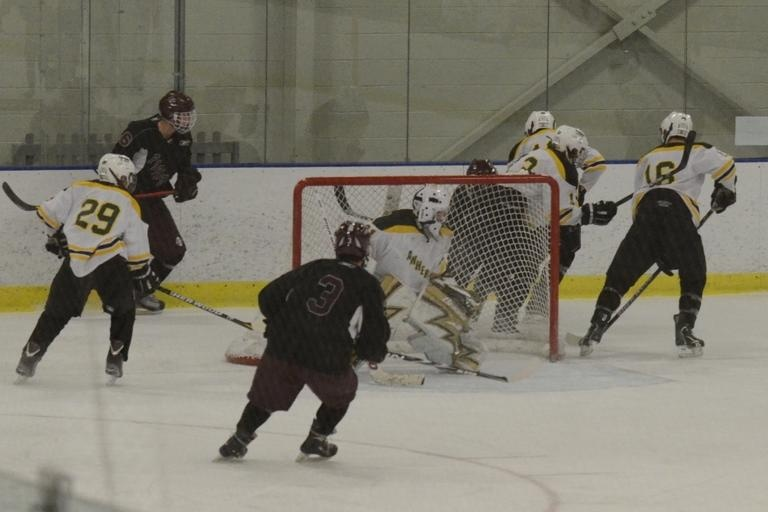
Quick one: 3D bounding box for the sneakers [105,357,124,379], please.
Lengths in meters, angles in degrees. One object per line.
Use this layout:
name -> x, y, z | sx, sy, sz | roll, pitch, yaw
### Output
sneakers -> -1.760, 0.718, 7.926 | 0.113, 0.192, 0.281 | 3, 10, -13

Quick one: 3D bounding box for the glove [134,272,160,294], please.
glove -> -1.648, 0.177, 8.344 | 0.174, 0.138, 0.135 | -18, -12, 37

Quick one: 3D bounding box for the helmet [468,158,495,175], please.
helmet -> 0.730, -0.660, 9.107 | 0.141, 0.153, 0.157 | 2, 0, -1

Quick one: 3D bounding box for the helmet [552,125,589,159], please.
helmet -> 1.393, -0.822, 8.875 | 0.246, 0.192, 0.190 | 24, 13, 16

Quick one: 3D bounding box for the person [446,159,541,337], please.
person -> 0.859, -0.023, 8.784 | 0.791, 1.358, 0.228 | 22, 56, 21

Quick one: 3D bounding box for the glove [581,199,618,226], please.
glove -> 1.569, -0.319, 8.832 | 0.263, 0.087, 0.149 | -5, 11, -7

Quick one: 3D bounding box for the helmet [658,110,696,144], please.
helmet -> 2.157, -0.924, 9.006 | 0.244, 0.241, 0.273 | 6, -12, 1

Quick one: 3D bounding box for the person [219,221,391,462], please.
person -> -0.427, 0.576, 6.814 | 0.852, 1.120, 0.308 | 5, 11, -1

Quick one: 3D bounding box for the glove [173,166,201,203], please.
glove -> -1.616, -0.593, 10.044 | 0.185, 0.285, 0.144 | 27, 7, -13

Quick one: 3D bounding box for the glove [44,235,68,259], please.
glove -> -2.255, -0.059, 8.318 | 0.176, 0.160, 0.071 | -28, -4, 4

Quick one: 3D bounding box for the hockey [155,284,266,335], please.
hockey -> -1.361, 0.411, 9.469 | 0.662, 0.078, 0.105 | 27, -33, -7

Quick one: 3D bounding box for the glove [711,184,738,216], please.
glove -> 2.496, -0.427, 8.974 | 0.174, 0.104, 0.215 | -1, 44, 29

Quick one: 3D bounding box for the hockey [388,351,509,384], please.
hockey -> 0.415, 0.734, 8.085 | 1.073, 0.145, 0.042 | 8, 32, -3

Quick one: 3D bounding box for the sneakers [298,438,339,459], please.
sneakers -> -0.376, 1.061, 6.897 | 0.207, 0.119, 0.105 | -5, 10, -8

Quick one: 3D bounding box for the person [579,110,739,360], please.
person -> 2.091, -0.165, 9.036 | 1.020, 1.827, 0.885 | 1, -18, 22

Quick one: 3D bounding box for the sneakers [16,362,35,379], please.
sneakers -> -2.297, 0.718, 7.792 | 0.087, 0.123, 0.086 | 6, 8, -23

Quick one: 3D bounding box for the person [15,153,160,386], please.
person -> -1.946, 0.065, 8.024 | 0.780, 1.442, 0.803 | 4, 11, -9

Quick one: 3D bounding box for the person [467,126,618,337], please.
person -> 1.202, -0.150, 8.996 | 1.191, 1.669, 0.873 | 8, 10, 26

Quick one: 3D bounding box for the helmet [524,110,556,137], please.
helmet -> 1.165, -1.015, 9.314 | 0.208, 0.232, 0.244 | 2, 21, 1

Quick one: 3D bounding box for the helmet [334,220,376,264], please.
helmet -> -0.177, -0.100, 6.949 | 0.211, 0.238, 0.218 | 5, 38, 6
